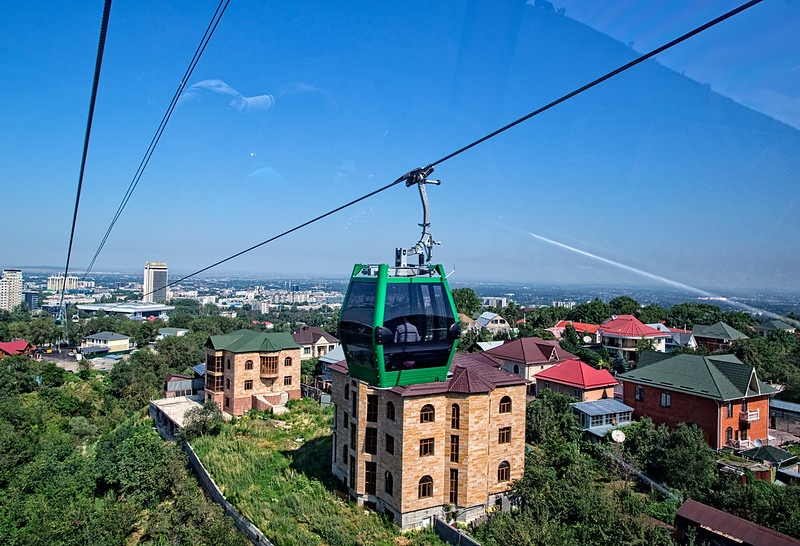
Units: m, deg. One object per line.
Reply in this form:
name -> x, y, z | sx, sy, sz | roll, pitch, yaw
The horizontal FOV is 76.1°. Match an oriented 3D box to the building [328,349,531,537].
building -> 0.948, 10.141, 35.022 | 11.038, 7.620, 10.219 | 1, -2, -19

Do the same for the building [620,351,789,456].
building -> 24.116, 9.767, 42.379 | 9.159, 5.237, 9.040 | 1, 3, -39

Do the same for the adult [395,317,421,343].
adult -> 0.317, 2.832, 26.274 | 1.384, 1.041, 0.678 | 1, 16, -1

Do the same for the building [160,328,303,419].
building -> -14.124, 9.502, 52.435 | 11.024, 7.094, 9.060 | 3, -3, -37
